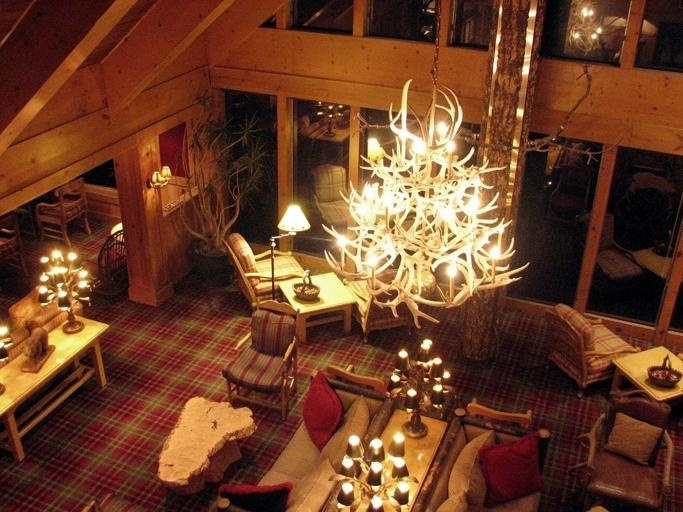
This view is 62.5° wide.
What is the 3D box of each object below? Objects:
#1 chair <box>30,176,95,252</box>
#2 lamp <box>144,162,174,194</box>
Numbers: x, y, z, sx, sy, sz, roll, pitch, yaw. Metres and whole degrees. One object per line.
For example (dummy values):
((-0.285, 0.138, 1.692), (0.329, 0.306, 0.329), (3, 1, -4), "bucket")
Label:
((-5.351, -0.772, 10.753), (0.732, 1.204, 0.862), (25, 44, 7), "chair")
((-2.974, -1.270, 9.179), (0.258, 0.369, 0.527), (1, 28, 1), "lamp")
